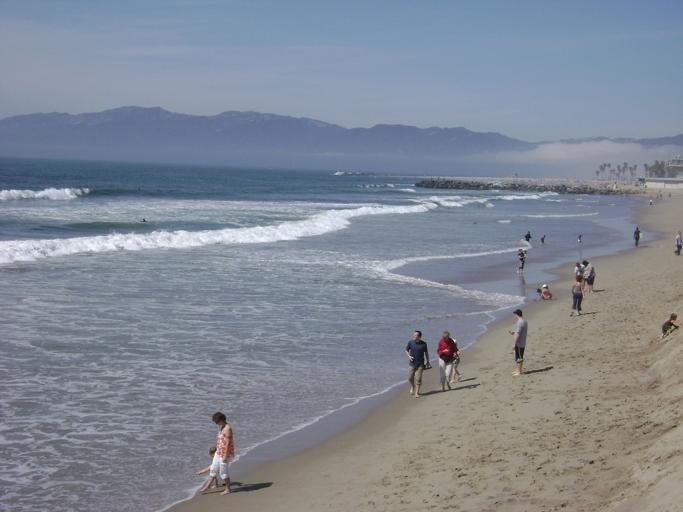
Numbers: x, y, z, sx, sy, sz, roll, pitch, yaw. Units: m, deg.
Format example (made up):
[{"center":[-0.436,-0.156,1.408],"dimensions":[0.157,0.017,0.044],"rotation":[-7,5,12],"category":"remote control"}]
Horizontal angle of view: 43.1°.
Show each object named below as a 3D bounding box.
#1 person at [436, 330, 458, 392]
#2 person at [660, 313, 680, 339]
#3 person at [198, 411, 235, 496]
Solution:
[{"center":[2.616,2.545,21.274],"dimensions":[0.468,1.479,0.493],"rotation":[-3,7,5],"category":"person"},{"center":[8.245,1.716,21.719],"dimensions":[0.405,0.586,1.398],"rotation":[-1,4,20],"category":"person"},{"center":[-2.583,4.018,17.999],"dimensions":[0.642,1.735,0.958],"rotation":[-4,7,-9],"category":"person"}]
